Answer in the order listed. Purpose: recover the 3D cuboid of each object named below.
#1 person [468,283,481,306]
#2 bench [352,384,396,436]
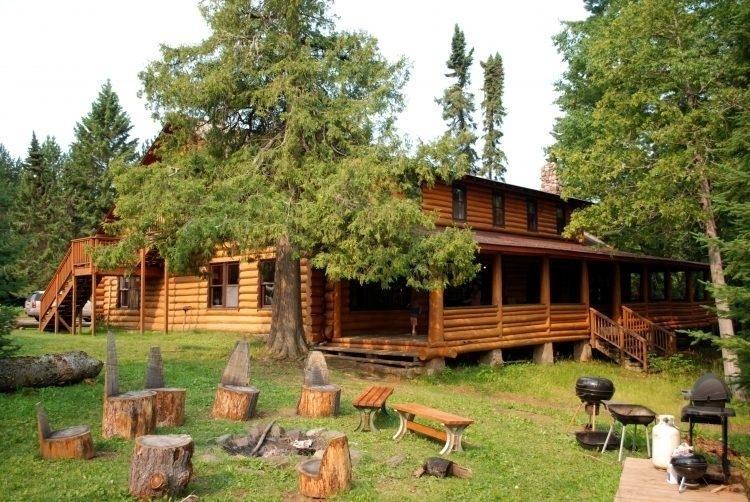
[{"bbox_3d":[4.580,1.975,27.635,0.483,1.107,1.961,1,-9,9],"label":"person"},{"bbox_3d":[-0.083,4.032,15.489,0.811,1.046,1.470,1,-9,11],"label":"bench"}]
